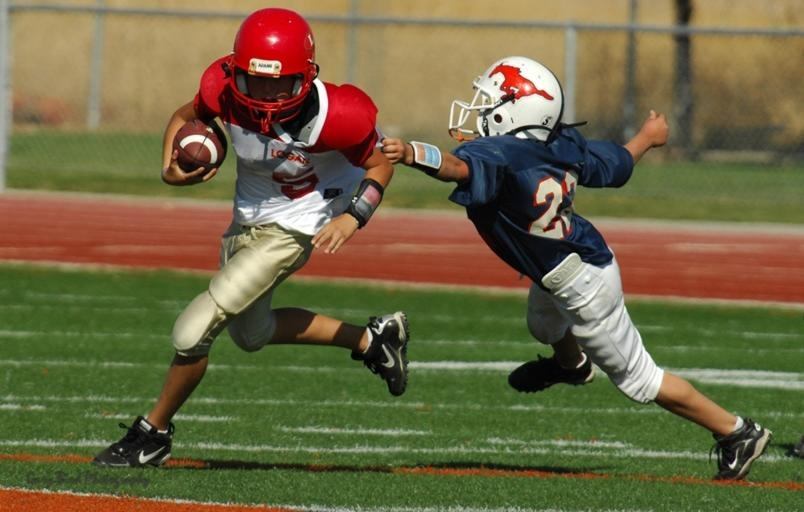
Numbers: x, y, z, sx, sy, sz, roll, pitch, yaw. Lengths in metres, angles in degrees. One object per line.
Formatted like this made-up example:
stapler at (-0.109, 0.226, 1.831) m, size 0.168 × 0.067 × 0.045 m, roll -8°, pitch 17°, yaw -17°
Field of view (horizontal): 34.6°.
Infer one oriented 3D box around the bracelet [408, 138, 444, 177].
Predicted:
bracelet at (0.156, -0.652, 8.685) m, size 0.165 × 0.211 × 0.232 m, roll 0°, pitch 13°, yaw -21°

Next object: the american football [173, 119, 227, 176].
american football at (-1.427, -0.795, 9.165) m, size 0.327 × 0.259 × 0.432 m, roll 27°, pitch 32°, yaw -30°

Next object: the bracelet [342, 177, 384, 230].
bracelet at (-0.253, -0.391, 9.005) m, size 0.240 × 0.368 × 0.136 m, roll 34°, pitch -15°, yaw -4°
